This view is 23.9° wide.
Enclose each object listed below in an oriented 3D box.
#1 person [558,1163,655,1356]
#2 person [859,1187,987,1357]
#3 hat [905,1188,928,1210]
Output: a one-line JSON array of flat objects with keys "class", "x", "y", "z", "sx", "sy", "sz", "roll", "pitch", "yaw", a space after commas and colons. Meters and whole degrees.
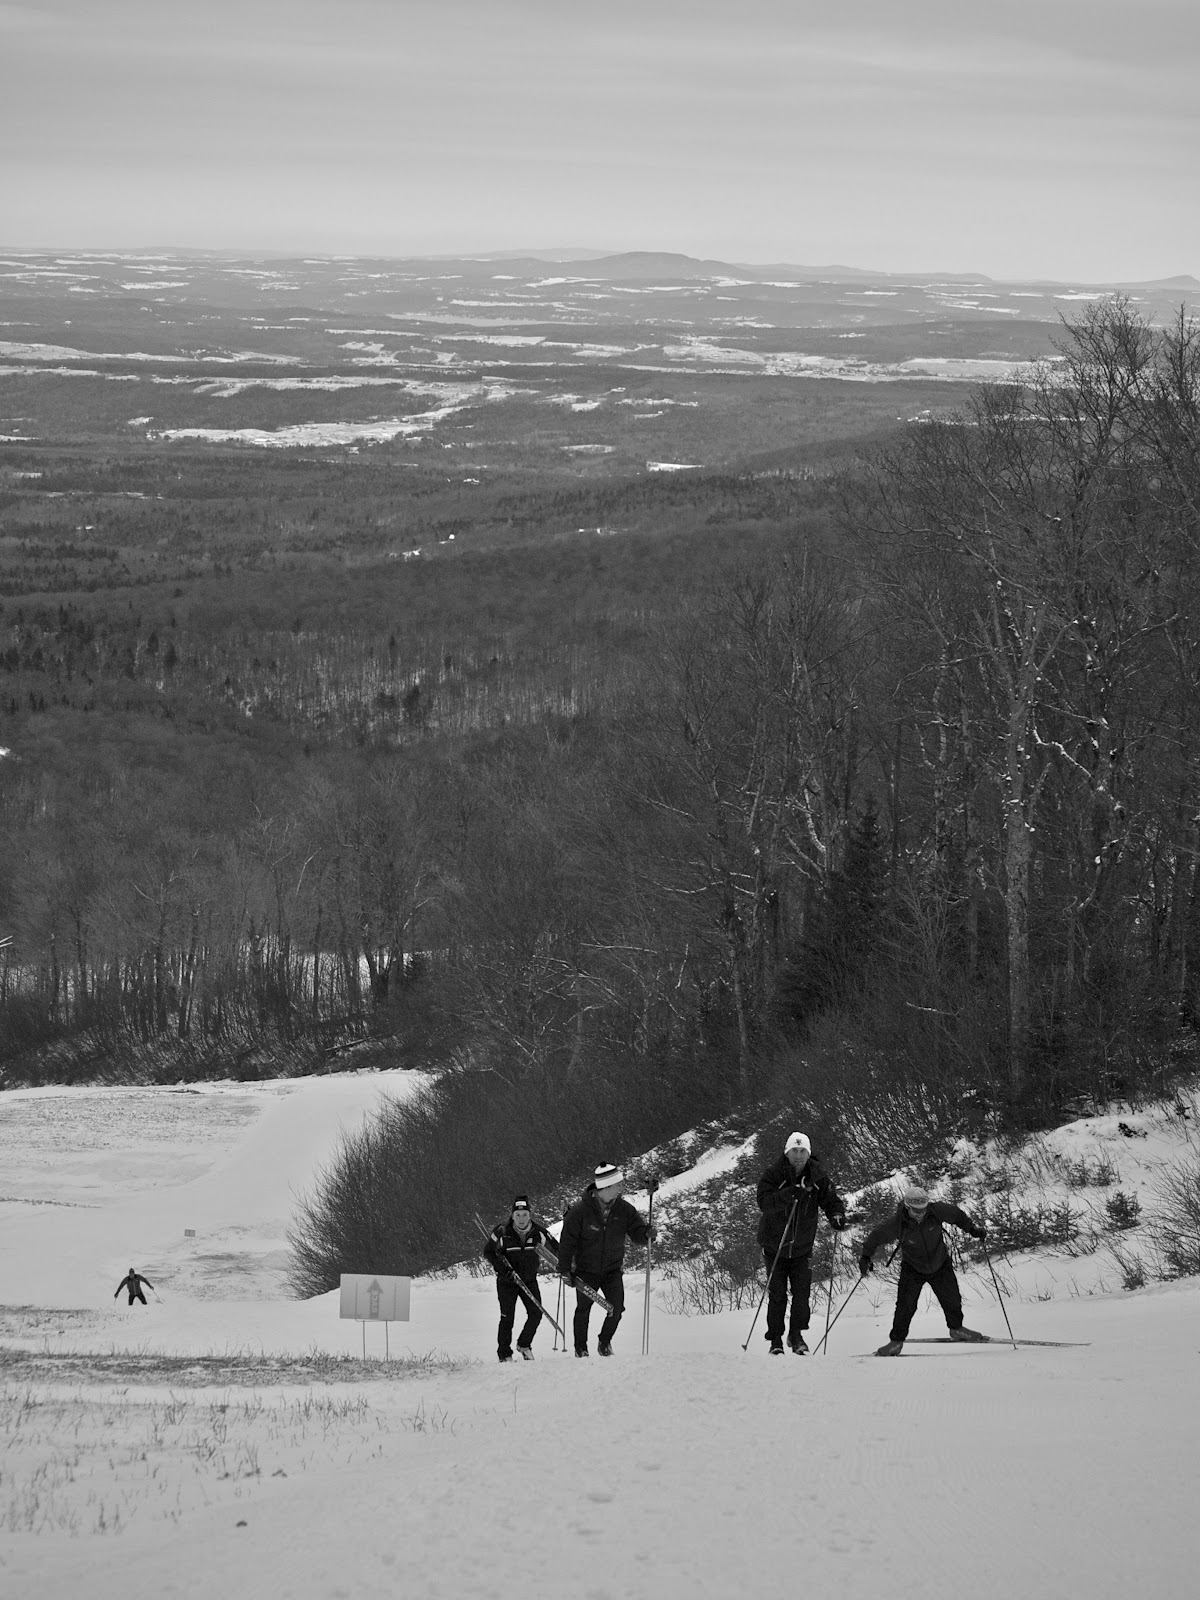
[{"class": "person", "x": 0.004, "y": 4.249, "z": 25.840, "sx": 0.625, "sy": 2.145, "sz": 0.606, "roll": 0, "pitch": 25, "yaw": -6}, {"class": "person", "x": 2.812, "y": 4.168, "z": 24.681, "sx": 0.964, "sy": 1.472, "sz": 1.966, "roll": -6, "pitch": 0, "yaw": 7}, {"class": "hat", "x": 2.690, "y": 3.467, "z": 24.314, "sx": 0.269, "sy": 0.177, "sz": 0.150, "roll": -9, "pitch": -2, "yaw": 38}]
